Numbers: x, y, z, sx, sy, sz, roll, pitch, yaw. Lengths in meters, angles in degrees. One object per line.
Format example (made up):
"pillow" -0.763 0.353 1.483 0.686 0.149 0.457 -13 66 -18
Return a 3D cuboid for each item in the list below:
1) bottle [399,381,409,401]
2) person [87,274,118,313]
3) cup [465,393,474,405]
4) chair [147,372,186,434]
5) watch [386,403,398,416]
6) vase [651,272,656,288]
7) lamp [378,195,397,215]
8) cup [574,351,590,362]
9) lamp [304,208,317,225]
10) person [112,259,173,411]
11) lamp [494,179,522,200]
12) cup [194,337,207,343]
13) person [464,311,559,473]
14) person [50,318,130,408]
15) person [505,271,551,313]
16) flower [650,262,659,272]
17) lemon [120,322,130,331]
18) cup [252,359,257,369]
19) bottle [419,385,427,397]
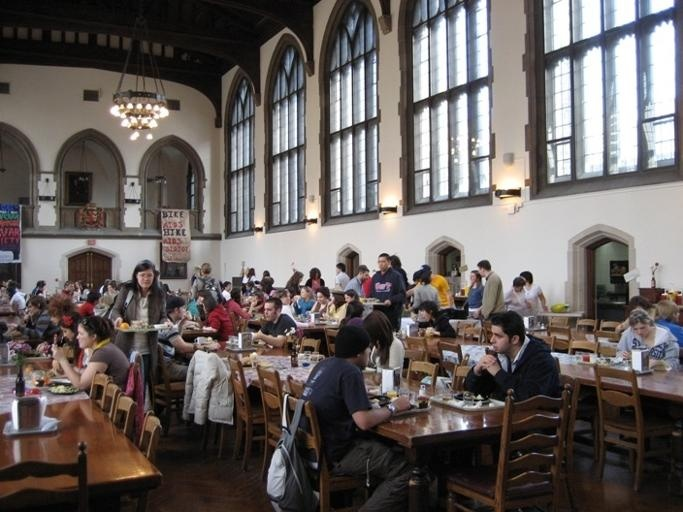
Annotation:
"bottle" 0.584 1.224 5.010 0.084 0.167 0.091 -2 2 0
"person" -6.912 1.049 15.688 0.683 1.297 0.679 6 -7 -29
"cup" 1.077 1.193 4.552 0.059 0.079 0.080 0 -5 -1
"chair" -2.245 1.804 7.188 0.410 0.658 0.387 8 -3 -19
"watch" 0.402 1.205 4.316 0.054 0.081 0.085 -25 40 -17
"vase" 5.284 0.401 9.163 0.064 0.247 0.082 -2 -2 31
"lamp" 1.277 -1.351 14.462 0.170 0.488 0.477 7 -11 -29
"cup" 2.897 1.210 6.487 0.086 0.147 0.147 -2 -5 20
"lamp" -0.973 -1.289 17.842 0.280 0.537 0.515 4 -7 -25
"person" -2.540 1.054 6.806 0.637 1.825 0.589 1 14 -34
"lamp" 3.466 -1.358 11.391 0.275 0.400 0.647 0 -3 -27
"cup" -1.976 1.184 7.648 0.128 0.100 0.102 -1 -2 -2
"person" 1.538 1.135 4.911 0.786 1.174 0.818 1 -5 -35
"person" -2.482 1.168 5.463 0.771 1.131 0.523 0 6 -34
"person" 3.669 0.715 10.510 0.586 1.320 0.414 -6 -3 -4
"flower" 5.307 0.191 9.164 0.059 0.123 0.115 3 -3 -30
"lemon" -2.571 0.837 6.461 0.092 0.098 0.114 17 -18 -4
"cup" -1.004 1.263 6.353 0.064 0.121 0.117 -1 0 -20
"bottle" 0.757 1.235 4.983 0.088 0.152 0.090 1 -7 0
